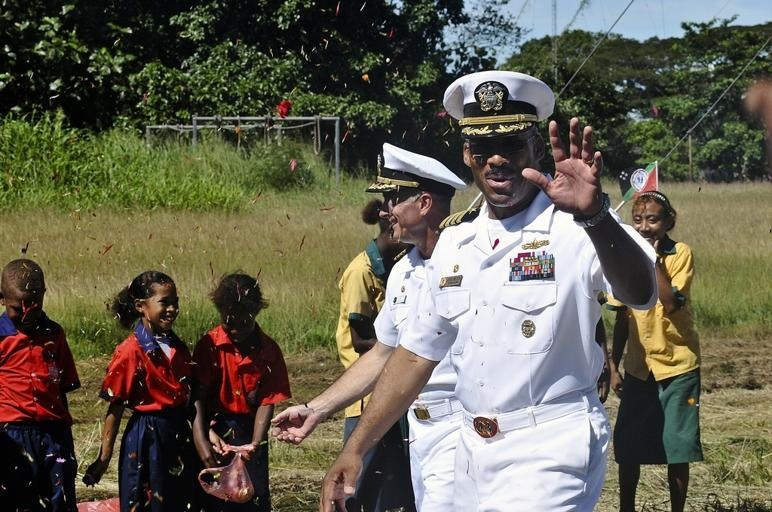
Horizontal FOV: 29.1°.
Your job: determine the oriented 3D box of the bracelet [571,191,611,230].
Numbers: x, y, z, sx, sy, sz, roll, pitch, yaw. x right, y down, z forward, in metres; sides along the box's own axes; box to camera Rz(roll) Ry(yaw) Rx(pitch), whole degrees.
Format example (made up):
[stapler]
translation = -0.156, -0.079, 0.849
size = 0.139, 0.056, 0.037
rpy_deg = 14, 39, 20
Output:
[bracelet]
translation = 2.233, -0.494, 16.087
size = 0.136, 0.394, 0.367
rpy_deg = 30, -16, -29
